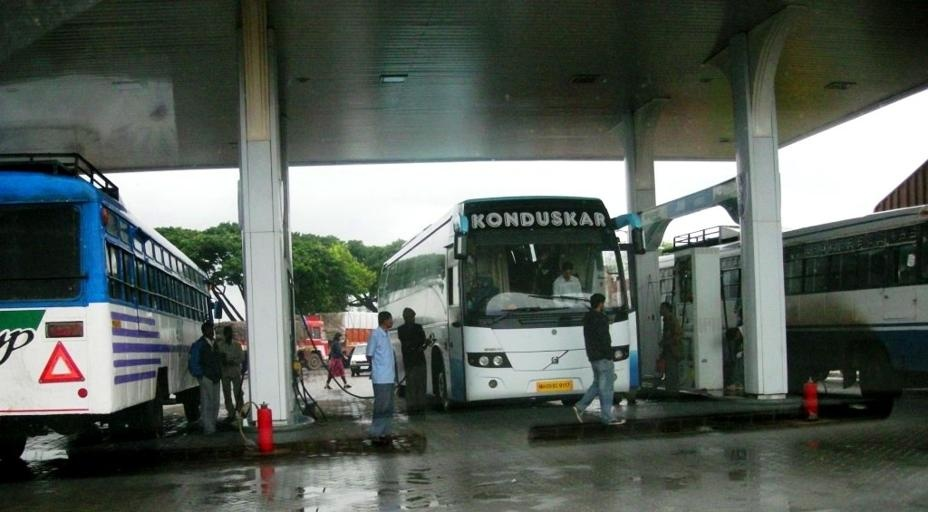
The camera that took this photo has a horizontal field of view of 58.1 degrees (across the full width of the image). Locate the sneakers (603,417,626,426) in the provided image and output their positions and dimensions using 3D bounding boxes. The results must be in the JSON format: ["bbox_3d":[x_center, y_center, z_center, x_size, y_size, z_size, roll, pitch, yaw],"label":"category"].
[{"bbox_3d":[3.645,4.005,20.132,0.415,0.118,0.283,-6,-7,41],"label":"sneakers"}]

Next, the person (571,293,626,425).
[{"bbox_3d":[3.117,2.466,20.009,0.996,3.179,0.876,-4,-7,9],"label":"person"}]

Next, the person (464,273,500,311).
[{"bbox_3d":[0.404,0.900,20.325,0.886,0.813,0.260,5,-2,7],"label":"person"}]

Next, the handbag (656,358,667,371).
[{"bbox_3d":[5.892,3.271,25.027,0.323,0.395,0.420,-1,0,-8],"label":"handbag"}]

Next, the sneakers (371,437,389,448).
[{"bbox_3d":[-1.951,4.335,19.352,0.325,0.098,0.219,0,2,17],"label":"sneakers"}]

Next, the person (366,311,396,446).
[{"bbox_3d":[-1.942,2.826,19.411,0.626,3.040,0.591,-2,-7,-6],"label":"person"}]
